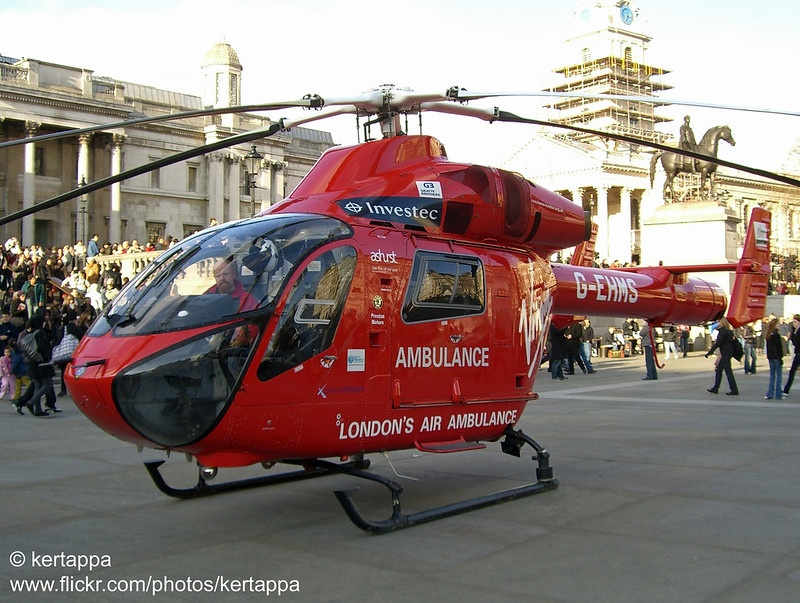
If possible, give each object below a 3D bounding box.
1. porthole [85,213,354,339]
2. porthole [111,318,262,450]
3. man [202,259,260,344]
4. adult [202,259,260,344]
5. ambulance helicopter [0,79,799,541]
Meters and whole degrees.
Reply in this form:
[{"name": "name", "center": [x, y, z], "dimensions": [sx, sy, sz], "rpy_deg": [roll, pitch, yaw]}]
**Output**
[{"name": "porthole", "center": [-1.517, -0.204, 6.484], "dimensions": [1.794, 0.365, 1.253], "rpy_deg": [-14, 5, -37]}, {"name": "porthole", "center": [-1.605, 0.657, 6.384], "dimensions": [0.897, 0.572, 1.369], "rpy_deg": [-13, 5, 45]}, {"name": "man", "center": [-1.392, -0.008, 6.360], "dimensions": [0.602, 0.598, 0.384], "rpy_deg": [-5, 16, 8]}, {"name": "adult", "center": [-1.398, -0.016, 6.359], "dimensions": [0.602, 0.598, 0.384], "rpy_deg": [-5, 16, 8]}, {"name": "ambulance helicopter", "center": [-0.290, 0.144, 8.277], "dimensions": [6.810, 1.849, 6.666], "rpy_deg": [3, -3, -43]}]
